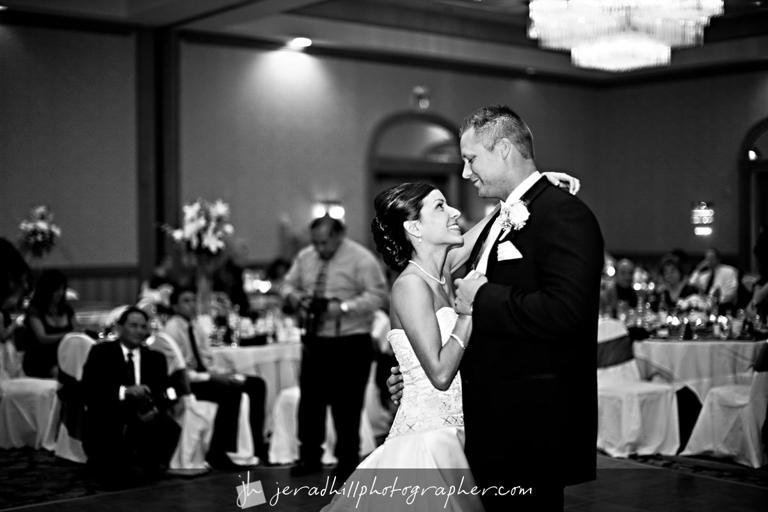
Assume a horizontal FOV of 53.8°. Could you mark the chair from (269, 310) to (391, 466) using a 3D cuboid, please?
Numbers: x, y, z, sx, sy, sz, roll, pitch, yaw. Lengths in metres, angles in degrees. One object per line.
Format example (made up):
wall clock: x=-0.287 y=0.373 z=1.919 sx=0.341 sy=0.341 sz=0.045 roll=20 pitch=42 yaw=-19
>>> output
chair: x=-0.535 y=1.448 z=7.152 sx=0.794 sy=1.011 sz=0.905 roll=7 pitch=-11 yaw=-10

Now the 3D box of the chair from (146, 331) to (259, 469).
chair: x=-1.571 y=1.373 z=7.139 sx=1.208 sy=1.684 sz=0.744 roll=-1 pitch=-3 yaw=-17

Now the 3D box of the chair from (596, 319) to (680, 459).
chair: x=2.172 y=1.124 z=6.484 sx=0.653 sy=1.058 sz=0.739 roll=0 pitch=6 yaw=17

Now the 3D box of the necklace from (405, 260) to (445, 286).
necklace: x=0.220 y=0.104 z=3.883 sx=0.155 sy=0.008 sz=0.116 roll=33 pitch=18 yaw=-27

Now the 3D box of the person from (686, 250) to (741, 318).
person: x=3.133 y=0.184 z=7.263 sx=0.347 sy=0.477 sz=1.730 roll=0 pitch=5 yaw=20

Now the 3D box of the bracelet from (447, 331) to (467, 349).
bracelet: x=0.360 y=0.412 z=3.713 sx=0.018 sy=0.070 sz=0.072 roll=-41 pitch=-17 yaw=4

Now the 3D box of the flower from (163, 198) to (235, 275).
flower: x=-1.566 y=-0.232 z=6.839 sx=0.602 sy=0.627 sz=0.577 roll=19 pitch=12 yaw=26

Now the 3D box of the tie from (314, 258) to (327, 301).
tie: x=-0.556 y=0.216 z=6.951 sx=0.087 sy=0.383 sz=0.089 roll=12 pitch=-14 yaw=16

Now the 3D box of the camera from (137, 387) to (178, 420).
camera: x=-1.856 y=1.206 z=6.200 sx=0.291 sy=0.190 sz=0.115 roll=-24 pitch=17 yaw=-25
